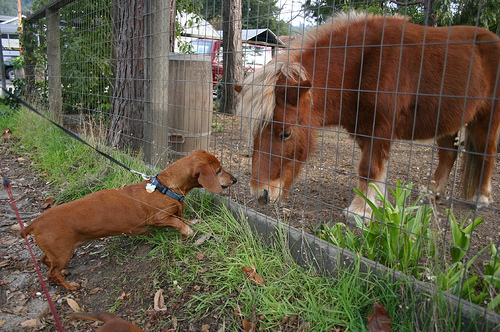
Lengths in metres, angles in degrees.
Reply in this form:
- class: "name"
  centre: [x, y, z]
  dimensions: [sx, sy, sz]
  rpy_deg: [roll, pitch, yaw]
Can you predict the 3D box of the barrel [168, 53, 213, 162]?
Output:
- class: "barrel"
  centre: [-0.914, -0.862, 5.342]
  dimensions: [0.693, 1.629, 0.771]
  rpy_deg: [2, 14, -3]
